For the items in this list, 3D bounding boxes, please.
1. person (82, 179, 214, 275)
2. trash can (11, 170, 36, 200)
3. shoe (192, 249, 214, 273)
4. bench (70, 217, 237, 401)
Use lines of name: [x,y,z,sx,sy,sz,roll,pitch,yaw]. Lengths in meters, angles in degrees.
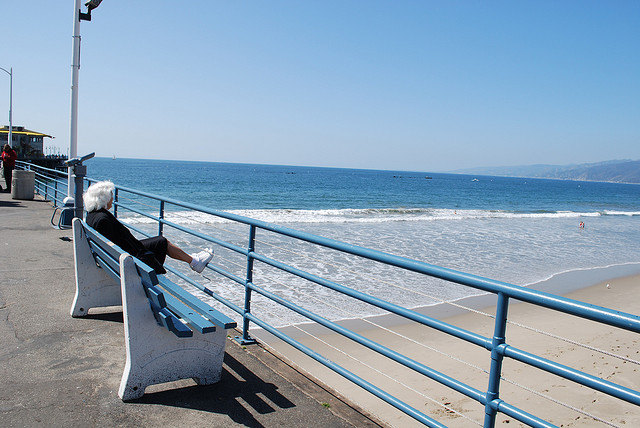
person: [-1.980,0.219,5.044,1.587,0.901,0.715,13,-6,-42]
trash can: [-9.997,-0.985,14.314,0.603,0.974,0.576,0,10,-33]
shoe: [-1.346,0.530,4.982,0.125,0.341,0.144,16,-36,48]
bench: [-1.830,1.023,4.588,1.189,1.053,2.789,-7,20,-36]
